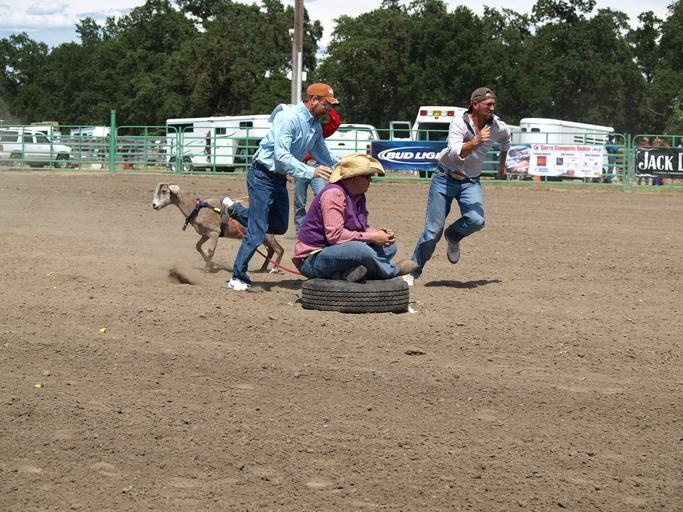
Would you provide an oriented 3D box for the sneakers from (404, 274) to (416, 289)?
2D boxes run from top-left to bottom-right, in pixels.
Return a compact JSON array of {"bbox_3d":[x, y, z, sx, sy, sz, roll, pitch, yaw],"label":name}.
[{"bbox_3d":[0.811,0.283,8.817,0.103,0.115,0.291,3,-12,3],"label":"sneakers"}]

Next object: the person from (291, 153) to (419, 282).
[{"bbox_3d":[0.178,-0.384,7.757,1.293,1.227,1.037,5,9,17],"label":"person"}]

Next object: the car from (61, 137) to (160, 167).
[{"bbox_3d":[-9.602,-4.404,31.214,3.884,1.115,1.124,-1,-6,-4],"label":"car"}]

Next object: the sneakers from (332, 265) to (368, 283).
[{"bbox_3d":[0.120,0.182,7.564,0.221,0.070,0.210,-10,3,-24],"label":"sneakers"}]

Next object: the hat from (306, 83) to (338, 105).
[{"bbox_3d":[-0.162,-1.792,8.232,0.410,0.190,0.251,6,14,-21],"label":"hat"}]

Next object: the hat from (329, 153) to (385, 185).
[{"bbox_3d":[0.134,-0.874,7.375,0.438,0.166,0.307,-5,23,-5],"label":"hat"}]

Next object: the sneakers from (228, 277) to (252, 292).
[{"bbox_3d":[-1.135,0.313,8.383,0.252,0.101,0.111,5,37,3],"label":"sneakers"}]

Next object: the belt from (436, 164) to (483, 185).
[{"bbox_3d":[1.340,-0.950,8.708,0.526,0.196,0.320,2,4,5],"label":"belt"}]

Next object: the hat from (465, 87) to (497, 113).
[{"bbox_3d":[1.647,-1.865,8.838,0.276,0.387,0.957,3,4,9],"label":"hat"}]
